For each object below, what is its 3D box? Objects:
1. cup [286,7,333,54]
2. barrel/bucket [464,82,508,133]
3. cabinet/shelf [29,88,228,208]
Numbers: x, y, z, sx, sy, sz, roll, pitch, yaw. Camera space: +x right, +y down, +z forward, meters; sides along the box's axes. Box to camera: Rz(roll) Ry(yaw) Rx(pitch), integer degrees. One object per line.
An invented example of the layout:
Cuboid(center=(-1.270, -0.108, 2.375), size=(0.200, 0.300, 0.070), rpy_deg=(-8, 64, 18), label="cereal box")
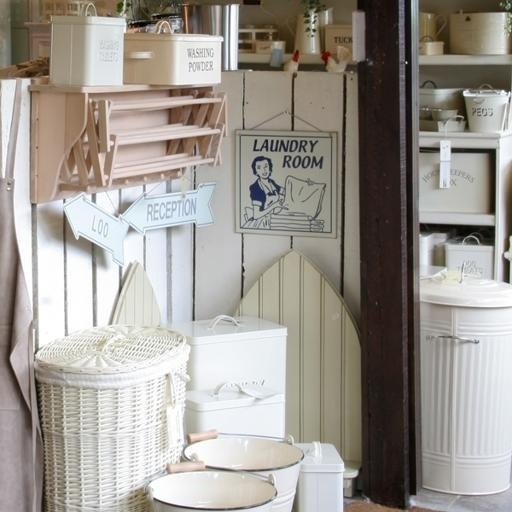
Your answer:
Cuboid(center=(0.272, -1.135, 3.528), size=(0.137, 0.301, 0.240), rpy_deg=(-1, 4, -33), label="cup")
Cuboid(center=(1.078, -0.658, 3.182), size=(0.171, 0.217, 0.208), rpy_deg=(1, 2, 18), label="barrel/bucket")
Cuboid(center=(-0.338, -0.346, 2.068), size=(0.168, 0.371, 0.652), rpy_deg=(11, 18, 28), label="cabinet/shelf")
